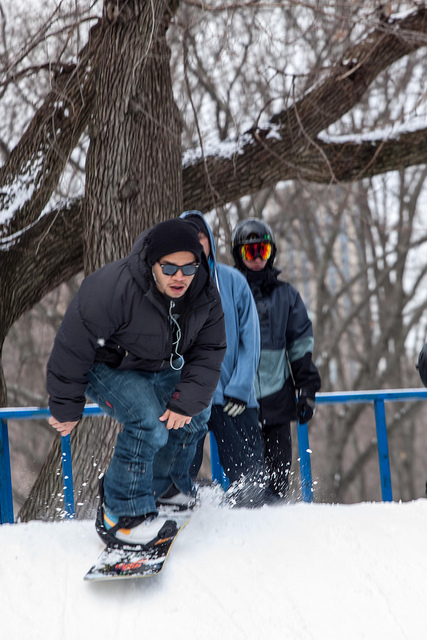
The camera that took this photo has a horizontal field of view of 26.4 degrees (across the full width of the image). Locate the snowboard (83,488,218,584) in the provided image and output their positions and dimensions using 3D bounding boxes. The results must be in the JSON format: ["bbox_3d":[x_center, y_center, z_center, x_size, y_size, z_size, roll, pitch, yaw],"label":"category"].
[{"bbox_3d":[-0.302,1.060,4.371,0.180,0.138,0.779,-1,15,14],"label":"snowboard"}]

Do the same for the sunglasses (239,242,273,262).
[{"bbox_3d":[0.256,-0.406,5.390,0.193,0.112,0.088,-2,8,2],"label":"sunglasses"}]

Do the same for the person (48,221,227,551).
[{"bbox_3d":[-0.385,0.191,4.524,0.608,1.796,0.900,6,29,-3],"label":"person"}]

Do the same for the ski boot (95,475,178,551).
[{"bbox_3d":[-0.373,0.955,4.318,0.413,0.472,0.174,-2,-5,8],"label":"ski boot"}]

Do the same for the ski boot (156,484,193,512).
[{"bbox_3d":[-0.194,0.908,4.762,0.222,0.146,0.090,-11,6,-14],"label":"ski boot"}]
